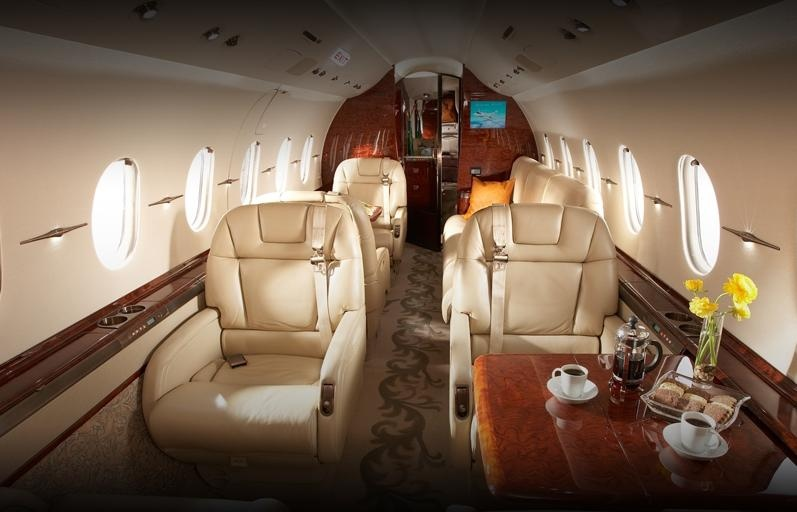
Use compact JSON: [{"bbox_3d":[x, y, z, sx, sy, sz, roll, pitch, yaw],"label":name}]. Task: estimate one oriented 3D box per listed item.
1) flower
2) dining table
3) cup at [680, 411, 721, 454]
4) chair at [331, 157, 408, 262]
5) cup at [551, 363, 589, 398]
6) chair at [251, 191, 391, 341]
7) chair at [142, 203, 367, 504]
[{"bbox_3d":[1.673,0.336,2.454,0.275,0.419,0.312,0,-5,-42],"label":"flower"},{"bbox_3d":[1.059,0.903,2.240,1.360,0.273,0.574,3,10,8],"label":"dining table"},{"bbox_3d":[1.383,0.801,2.194,0.152,0.129,0.177,3,18,6],"label":"cup"},{"bbox_3d":[-0.283,-0.729,6.570,1.313,1.586,1.406,3,15,8],"label":"chair"},{"bbox_3d":[0.924,0.648,2.515,0.163,0.133,0.195,-15,20,-38],"label":"cup"},{"bbox_3d":[-0.647,-0.066,4.563,1.246,1.057,1.032,-6,4,-15],"label":"chair"},{"bbox_3d":[-0.941,0.549,3.207,1.267,1.784,0.971,2,10,3],"label":"chair"}]
